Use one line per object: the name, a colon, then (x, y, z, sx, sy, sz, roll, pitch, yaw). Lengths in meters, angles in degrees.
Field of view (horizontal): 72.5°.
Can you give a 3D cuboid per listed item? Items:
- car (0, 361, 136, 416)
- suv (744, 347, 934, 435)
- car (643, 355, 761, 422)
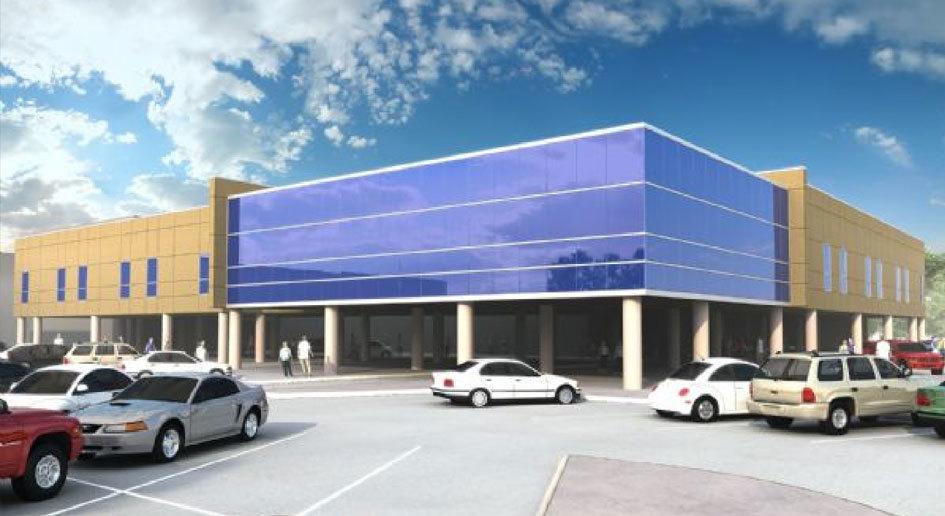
car: (-14.122, 4.549, 22.704, 1.910, 1.300, 3.099, -6, -11, 39)
suv: (13.655, 5.101, 24.507, 5.545, 2.989, 1.397, 1, -13, -9)
car: (9.515, 5.383, 26.435, 3.772, 2.528, 0.975, 1, -13, -9)
